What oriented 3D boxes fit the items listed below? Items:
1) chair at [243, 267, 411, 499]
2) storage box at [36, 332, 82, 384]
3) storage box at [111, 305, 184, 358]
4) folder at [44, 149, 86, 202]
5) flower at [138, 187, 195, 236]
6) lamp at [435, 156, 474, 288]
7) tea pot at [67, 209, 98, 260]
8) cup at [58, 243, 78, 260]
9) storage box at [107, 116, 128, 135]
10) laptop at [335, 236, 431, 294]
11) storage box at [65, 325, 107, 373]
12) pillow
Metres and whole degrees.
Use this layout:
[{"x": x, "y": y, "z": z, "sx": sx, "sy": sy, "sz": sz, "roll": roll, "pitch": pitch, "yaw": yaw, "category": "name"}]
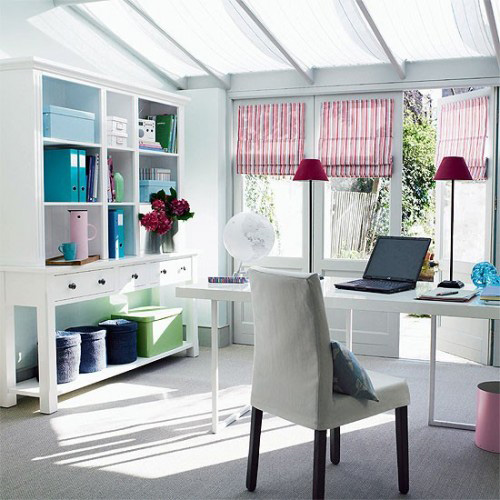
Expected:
[{"x": 0.284, "y": 0.539, "z": 1.843, "sx": 0.570, "sy": 0.922, "sz": 0.482, "roll": 0, "pitch": -1, "yaw": -37, "category": "chair"}, {"x": -1.344, "y": 0.776, "z": 3.194, "sx": 0.267, "sy": 0.309, "sz": 0.268, "roll": 3, "pitch": -8, "yaw": -36, "category": "storage box"}, {"x": -0.831, "y": 0.708, "z": 4.000, "sx": 0.356, "sy": 0.331, "sz": 0.516, "roll": 0, "pitch": 2, "yaw": 26, "category": "storage box"}, {"x": -1.265, "y": -0.501, "z": 3.086, "sx": 0.317, "sy": 0.342, "sz": 0.186, "roll": 4, "pitch": 6, "yaw": 38, "category": "folder"}, {"x": -0.684, "y": -0.303, "z": 3.740, "sx": 0.385, "sy": 0.303, "sz": 0.383, "roll": 3, "pitch": 9, "yaw": 16, "category": "flower"}, {"x": 1.447, "y": -0.179, "z": 3.267, "sx": 0.255, "sy": 0.950, "sz": 0.264, "roll": 1, "pitch": 5, "yaw": 20, "category": "lamp"}, {"x": -1.174, "y": -0.096, "z": 3.218, "sx": 0.188, "sy": 0.338, "sz": 0.109, "roll": 1, "pitch": -6, "yaw": -36, "category": "tea pot"}, {"x": -1.231, "y": 0.016, "z": 3.102, "sx": 0.140, "sy": 0.142, "sz": 0.090, "roll": -3, "pitch": 7, "yaw": -37, "category": "cup"}, {"x": -0.993, "y": -0.942, "z": 3.455, "sx": 0.114, "sy": 0.142, "sz": 0.212, "roll": 2, "pitch": 5, "yaw": 17, "category": "storage box"}, {"x": 0.711, "y": 0.068, "z": 2.420, "sx": 0.407, "sy": 0.276, "sz": 0.361, "roll": -3, "pitch": 4, "yaw": -44, "category": "laptop"}, {"x": -1.239, "y": 0.790, "z": 3.482, "sx": 0.261, "sy": 0.286, "sz": 0.286, "roll": -5, "pitch": -6, "yaw": 5, "category": "storage box"}, {"x": 0.396, "y": 0.435, "z": 1.662, "sx": 0.062, "sy": 0.222, "sz": 0.208, "roll": -17, "pitch": 12, "yaw": -27, "category": "pillow"}]
